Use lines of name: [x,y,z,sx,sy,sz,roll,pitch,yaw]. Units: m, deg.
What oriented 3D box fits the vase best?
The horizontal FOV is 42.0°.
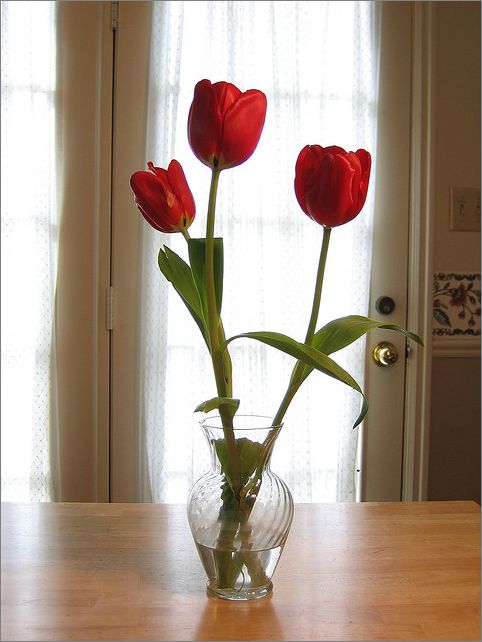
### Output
vase: [-0.013,0.244,0.754,0.081,0.188,0.101,19,-32,-17]
